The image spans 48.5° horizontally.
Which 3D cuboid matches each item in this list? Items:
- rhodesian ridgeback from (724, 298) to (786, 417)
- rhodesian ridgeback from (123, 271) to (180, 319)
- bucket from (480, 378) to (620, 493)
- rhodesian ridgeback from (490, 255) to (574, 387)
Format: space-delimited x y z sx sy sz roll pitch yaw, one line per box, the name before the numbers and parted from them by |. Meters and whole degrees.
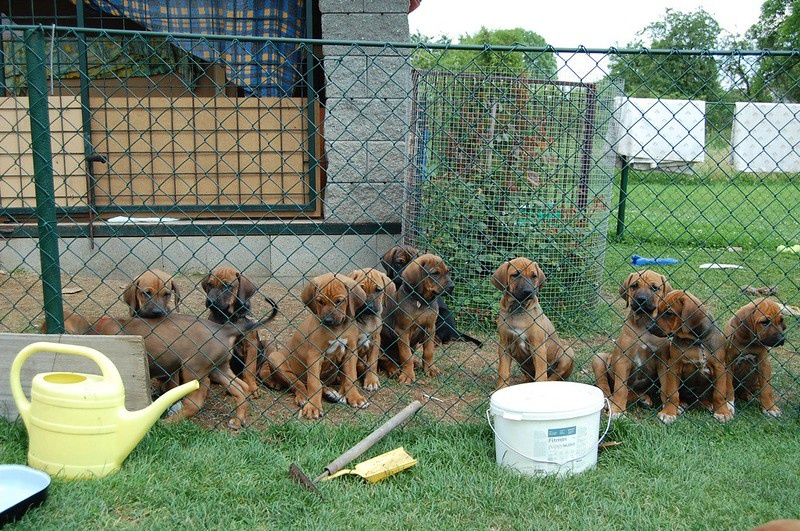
rhodesian ridgeback | 3.675 0.926 9.294 0.591 1.183 0.506 3 11 13
rhodesian ridgeback | -2.595 0.270 9.240 0.543 0.562 0.697 0 9 -25
bucket | 1.367 1.544 8.197 0.854 0.544 0.830 -2 8 0
rhodesian ridgeback | 1.428 0.642 9.753 0.814 1.553 1.017 4 10 39
